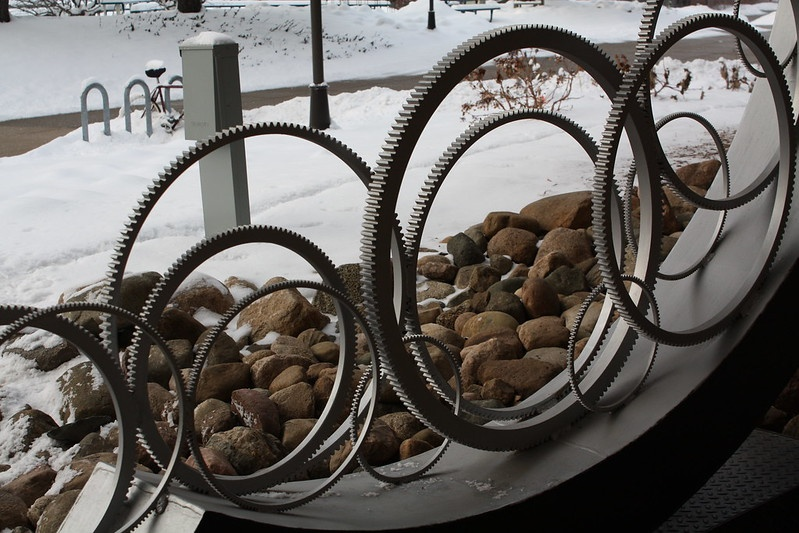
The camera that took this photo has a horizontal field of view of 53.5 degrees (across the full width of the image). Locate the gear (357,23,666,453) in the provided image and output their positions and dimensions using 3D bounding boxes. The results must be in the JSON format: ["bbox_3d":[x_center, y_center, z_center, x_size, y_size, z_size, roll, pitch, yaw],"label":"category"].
[{"bbox_3d":[0.401,-0.030,3.791,1.227,2.016,0.524,-14,29,-25],"label":"gear"}]

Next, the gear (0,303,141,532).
[{"bbox_3d":[-1.295,0.653,3.399,0.327,0.925,0.340,-15,30,-27],"label":"gear"}]

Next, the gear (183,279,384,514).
[{"bbox_3d":[-0.570,0.616,3.787,0.967,1.007,0.579,-12,29,-21],"label":"gear"}]
